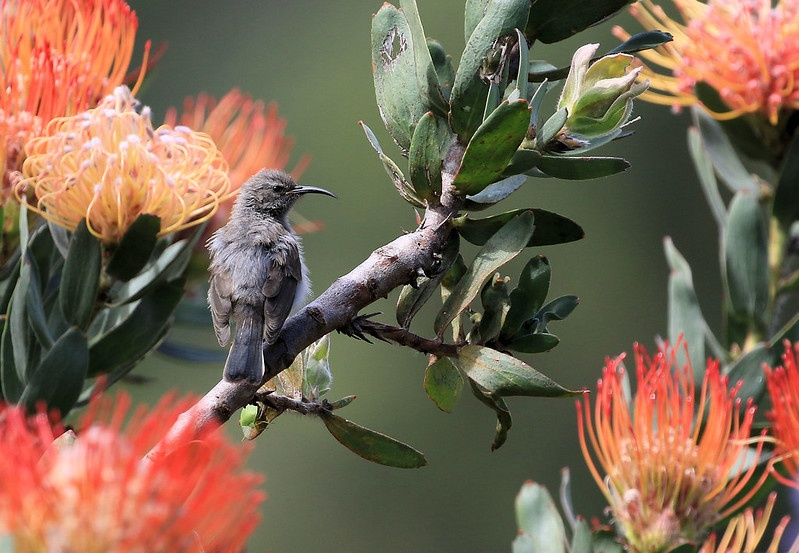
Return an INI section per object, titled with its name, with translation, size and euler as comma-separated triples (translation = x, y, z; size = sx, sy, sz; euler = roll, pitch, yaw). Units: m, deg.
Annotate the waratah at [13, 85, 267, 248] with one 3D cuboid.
[waratah]
translation = -0.402, -0.155, 1.504
size = 0.225, 0.251, 0.311
euler = -8, 10, 30
